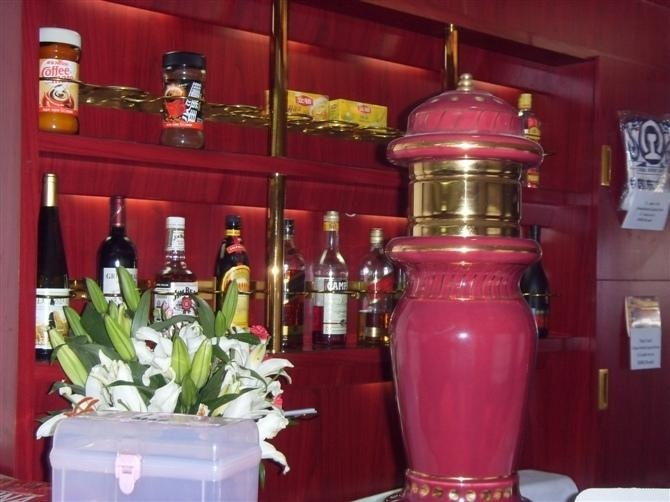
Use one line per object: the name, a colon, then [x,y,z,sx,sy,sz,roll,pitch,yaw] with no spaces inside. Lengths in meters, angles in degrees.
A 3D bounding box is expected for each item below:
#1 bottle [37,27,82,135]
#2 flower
bottle: [-0.539,-0.333,1.519,0.084,0.210,0.057,0,-1,-33]
flower: [-0.250,0.172,1.249,0.382,0.260,0.385,0,-7,18]
